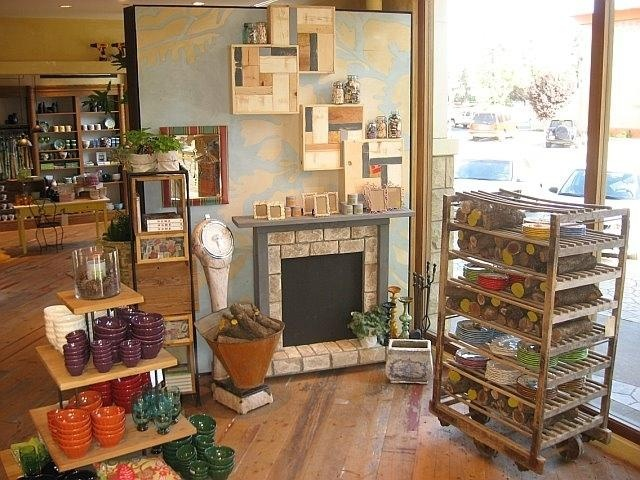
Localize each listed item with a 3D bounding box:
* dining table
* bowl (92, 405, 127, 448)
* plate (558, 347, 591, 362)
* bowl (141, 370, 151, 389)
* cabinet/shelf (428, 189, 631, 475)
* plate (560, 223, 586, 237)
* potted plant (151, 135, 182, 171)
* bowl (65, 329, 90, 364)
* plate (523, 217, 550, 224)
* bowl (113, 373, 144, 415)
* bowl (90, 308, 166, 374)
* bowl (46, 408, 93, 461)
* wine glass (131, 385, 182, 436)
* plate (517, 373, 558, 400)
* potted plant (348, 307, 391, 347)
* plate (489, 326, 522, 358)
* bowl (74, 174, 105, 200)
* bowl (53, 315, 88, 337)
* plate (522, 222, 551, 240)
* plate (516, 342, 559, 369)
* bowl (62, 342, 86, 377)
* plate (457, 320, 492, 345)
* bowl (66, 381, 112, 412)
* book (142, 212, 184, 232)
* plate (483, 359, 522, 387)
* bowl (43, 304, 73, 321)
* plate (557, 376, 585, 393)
[{"bbox_3d":[-5.608,-0.444,10.266,1.718,0.927,2.255,-9,13,-30],"label":"dining table"},{"bbox_3d":[-1.225,1.073,2.741,0.175,0.202,0.211,-8,13,-26],"label":"bowl"},{"bbox_3d":[1.790,0.818,3.327,0.144,0.059,0.142,-4,4,-2],"label":"plate"},{"bbox_3d":[-1.090,0.880,2.977,0.081,0.079,0.078,4,17,-1],"label":"bowl"},{"bbox_3d":[1.564,0.614,3.646,1.039,1.974,1.206,-11,15,-34],"label":"cabinet/shelf"},{"bbox_3d":[1.695,-0.063,3.180,0.119,0.038,0.114,-1,10,-6],"label":"plate"},{"bbox_3d":[-1.333,-0.735,3.984,0.297,0.290,0.278,-3,11,-20],"label":"potted plant"},{"bbox_3d":[-1.372,0.612,2.750,0.160,0.189,0.156,4,5,0],"label":"bowl"},{"bbox_3d":[1.648,-0.153,3.595,0.118,0.027,0.118,7,12,39],"label":"plate"},{"bbox_3d":[-1.162,0.943,2.982,0.225,0.235,0.217,2,12,0],"label":"bowl"},{"bbox_3d":[-1.164,0.608,2.900,0.319,0.245,0.372,2,3,-1],"label":"bowl"},{"bbox_3d":[-1.418,1.087,2.687,0.214,0.185,0.257,0,5,-14],"label":"bowl"},{"bbox_3d":[-1.002,1.019,2.912,0.260,0.215,0.294,1,4,-6],"label":"wine glass"},{"bbox_3d":[1.457,1.021,3.247,0.234,0.080,0.225,0,12,-3],"label":"plate"},{"bbox_3d":[0.508,0.872,4.951,0.404,0.276,0.391,0,4,-18],"label":"potted plant"},{"bbox_3d":[1.380,0.752,3.484,0.226,0.051,0.169,-9,15,-41],"label":"plate"},{"bbox_3d":[-4.983,-1.133,10.159,0.704,0.478,0.678,2,8,0],"label":"bowl"},{"bbox_3d":[-1.515,0.504,2.878,0.141,0.093,0.141,3,10,0],"label":"bowl"},{"bbox_3d":[1.432,-0.064,3.124,0.170,0.095,0.127,5,14,33],"label":"plate"},{"bbox_3d":[1.465,0.786,3.182,0.223,0.090,0.222,3,4,32],"label":"plate"},{"bbox_3d":[-1.383,0.674,2.678,0.115,0.190,0.081,-10,15,-30],"label":"bowl"},{"bbox_3d":[1.207,0.724,3.704,0.193,0.080,0.194,10,12,32],"label":"plate"},{"bbox_3d":[-1.413,0.949,2.846,0.183,0.068,0.178,0,3,0],"label":"bowl"},{"bbox_3d":[-1.352,-0.153,4.084,0.333,0.132,0.263,-6,12,-16],"label":"book"},{"bbox_3d":[1.317,0.972,3.433,0.200,0.083,0.199,5,12,10],"label":"plate"},{"bbox_3d":[-1.657,0.457,2.980,0.143,0.049,0.131,1,8,0],"label":"bowl"},{"bbox_3d":[1.812,1.043,3.382,0.126,0.051,0.145,-2,1,1],"label":"plate"}]
